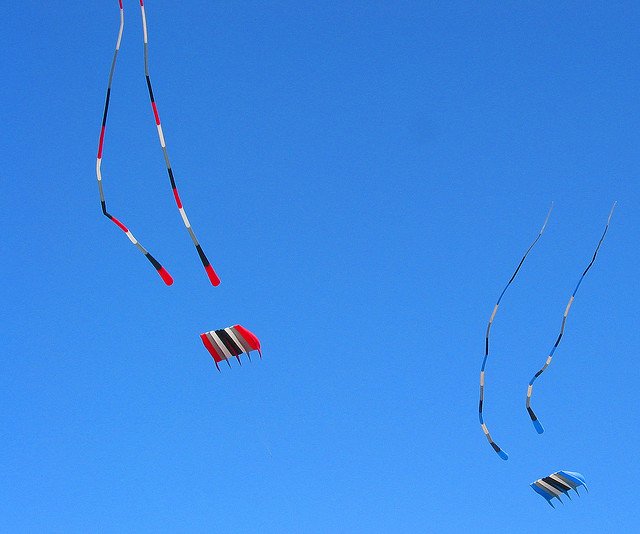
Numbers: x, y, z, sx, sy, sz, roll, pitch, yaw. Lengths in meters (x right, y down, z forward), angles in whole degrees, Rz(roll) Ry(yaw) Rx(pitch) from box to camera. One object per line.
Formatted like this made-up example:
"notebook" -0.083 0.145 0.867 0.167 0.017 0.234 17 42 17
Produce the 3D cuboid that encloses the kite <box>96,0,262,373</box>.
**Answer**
"kite" -0.456 -0.152 2.909 0.357 0.106 1.361 -23 -86 1

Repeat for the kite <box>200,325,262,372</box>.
"kite" -0.280 0.251 2.777 0.171 0.174 0.045 -10 -50 -33
